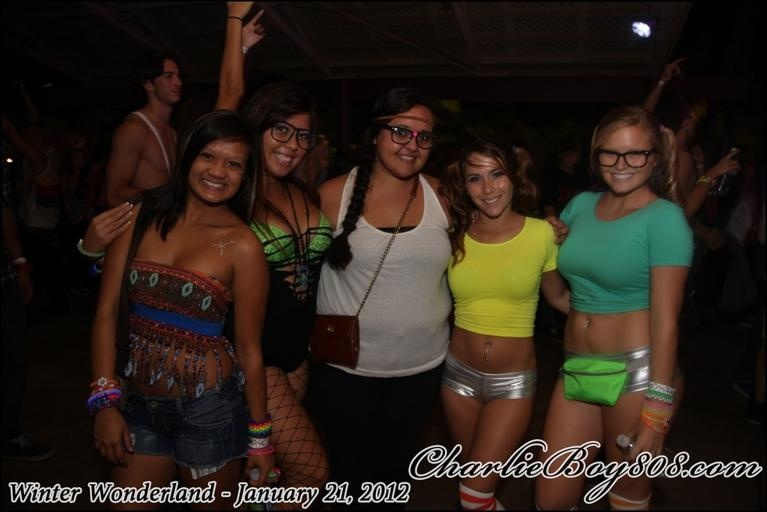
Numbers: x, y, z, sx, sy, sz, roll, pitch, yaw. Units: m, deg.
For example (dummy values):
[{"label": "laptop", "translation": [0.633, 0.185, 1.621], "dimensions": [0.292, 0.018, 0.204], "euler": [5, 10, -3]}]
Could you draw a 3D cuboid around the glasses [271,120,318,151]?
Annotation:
[{"label": "glasses", "translation": [-0.667, -0.882, 4.051], "dimensions": [0.336, 0.204, 0.077], "euler": [0, 11, -12]}]

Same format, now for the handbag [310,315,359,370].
[{"label": "handbag", "translation": [-0.347, 0.613, 4.009], "dimensions": [0.420, 0.387, 0.141], "euler": [1, -5, 19]}]

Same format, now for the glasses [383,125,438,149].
[{"label": "glasses", "translation": [0.192, -0.895, 4.158], "dimensions": [0.372, 0.175, 0.089], "euler": [2, 11, -2]}]

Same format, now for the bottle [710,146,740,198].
[{"label": "bottle", "translation": [3.120, -0.760, 4.999], "dimensions": [0.162, 0.420, 0.363], "euler": [9, 13, 32]}]

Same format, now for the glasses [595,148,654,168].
[{"label": "glasses", "translation": [1.670, -0.669, 3.805], "dimensions": [0.362, 0.128, 0.109], "euler": [6, 12, 21]}]
